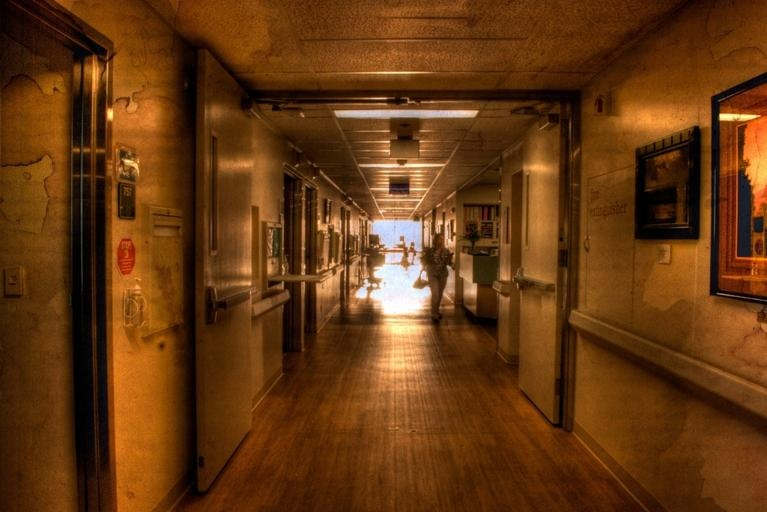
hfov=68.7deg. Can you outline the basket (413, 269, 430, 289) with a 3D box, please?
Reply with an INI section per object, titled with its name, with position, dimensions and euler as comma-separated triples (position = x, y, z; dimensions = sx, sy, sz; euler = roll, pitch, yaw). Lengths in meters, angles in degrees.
[basket]
position = 0.808, 0.542, 13.732
dimensions = 0.137, 0.519, 0.533
euler = 3, -8, 40
